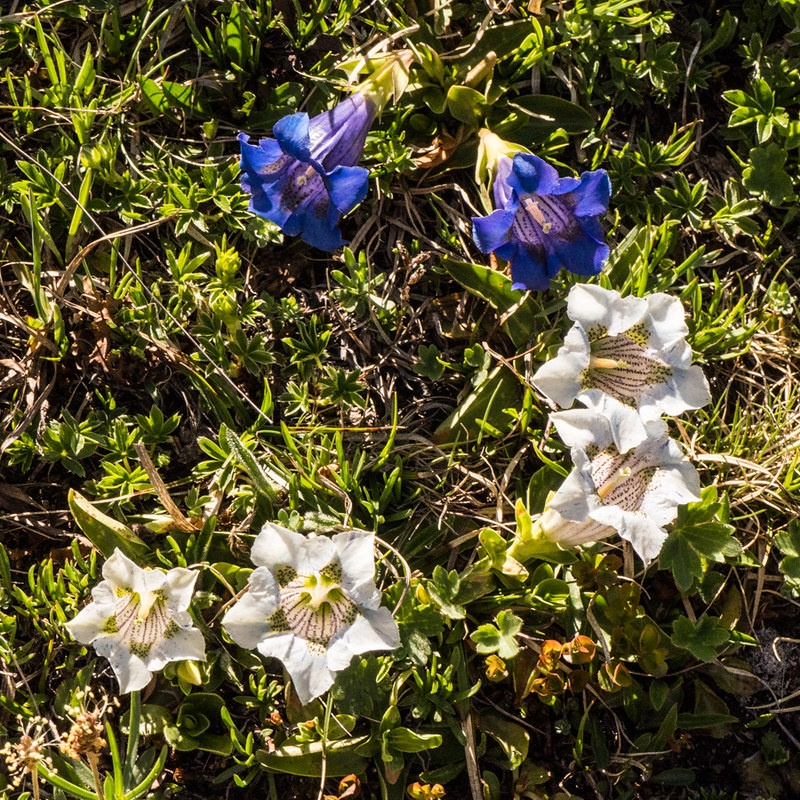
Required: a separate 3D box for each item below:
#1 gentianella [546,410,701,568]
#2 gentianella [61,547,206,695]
[{"bbox_3d":[0.538,0.197,2.066,0.355,0.195,0.366,1,64,7],"label":"gentianella"},{"bbox_3d":[-0.587,0.530,2.161,0.379,0.365,0.163,27,84,-25],"label":"gentianella"}]
